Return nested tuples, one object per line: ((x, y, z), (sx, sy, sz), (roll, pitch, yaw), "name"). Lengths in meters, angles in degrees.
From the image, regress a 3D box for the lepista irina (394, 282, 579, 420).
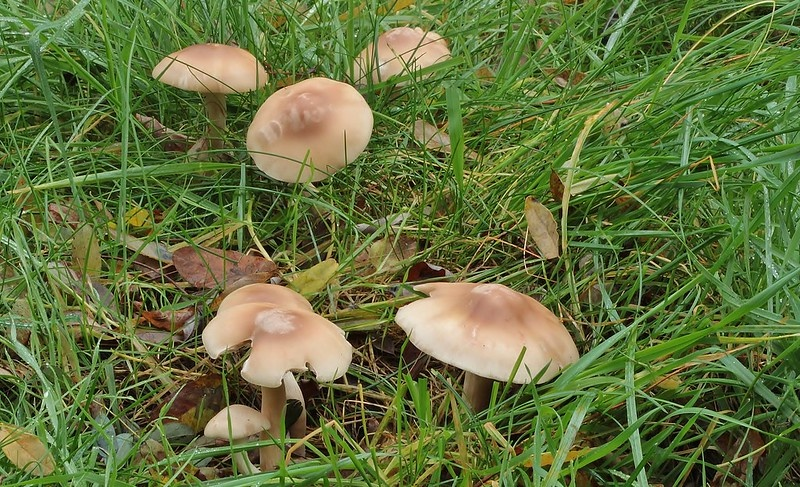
((0.319, 0.370, 2.489), (0.470, 0.334, 0.478), (28, 28, 16), "lepista irina")

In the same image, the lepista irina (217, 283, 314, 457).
((-0.505, 0.488, 2.601), (0.493, 0.549, 0.452), (2, 34, -21), "lepista irina")
